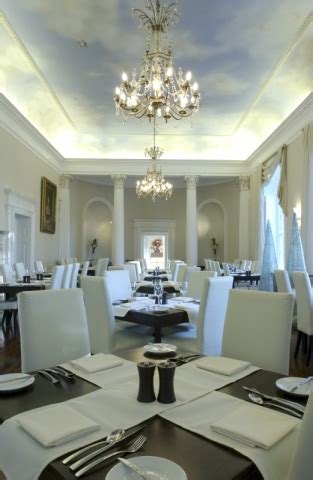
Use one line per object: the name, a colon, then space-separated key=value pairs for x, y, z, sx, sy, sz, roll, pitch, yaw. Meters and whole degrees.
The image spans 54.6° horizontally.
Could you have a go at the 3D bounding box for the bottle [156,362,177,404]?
bottle: x=0.035 y=0.458 z=1.002 sx=0.060 sy=0.133 sz=0.138 roll=0 pitch=-3 yaw=3

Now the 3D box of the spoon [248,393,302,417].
spoon: x=0.387 y=0.516 z=1.007 sx=0.051 sy=0.026 sz=0.196 roll=-6 pitch=1 yaw=-35

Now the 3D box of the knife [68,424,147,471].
knife: x=-0.118 y=0.446 z=0.714 sx=0.049 sy=0.030 sz=0.192 roll=1 pitch=6 yaw=38

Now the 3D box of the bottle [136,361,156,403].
bottle: x=-0.032 y=0.460 z=0.994 sx=0.060 sy=0.129 sz=0.104 roll=1 pitch=-3 yaw=-1
